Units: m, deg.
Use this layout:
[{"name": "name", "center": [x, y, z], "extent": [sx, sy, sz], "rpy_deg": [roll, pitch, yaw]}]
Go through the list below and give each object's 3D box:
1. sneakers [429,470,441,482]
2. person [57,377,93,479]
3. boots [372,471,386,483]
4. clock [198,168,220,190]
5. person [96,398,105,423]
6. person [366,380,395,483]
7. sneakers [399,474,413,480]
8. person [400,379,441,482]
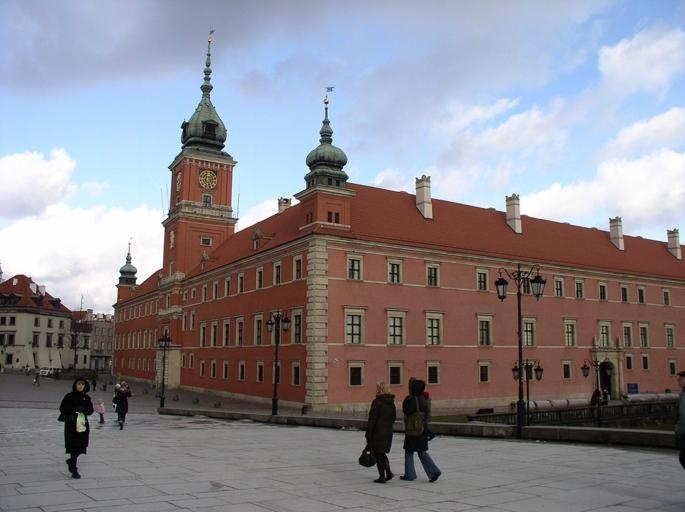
[{"name": "sneakers", "center": [2.722, 6.573, 23.071], "extent": [0.174, 0.210, 0.487], "rpy_deg": [10, -23, -22]}, {"name": "person", "center": [-8.023, 5.162, 23.358], "extent": [0.922, 2.927, 0.633], "rpy_deg": [4, -13, -20]}, {"name": "boots", "center": [1.140, 6.618, 23.235], "extent": [0.175, 0.396, 0.473], "rpy_deg": [10, -9, -42]}, {"name": "clock", "center": [-12.487, -7.129, 71.959], "extent": [1.799, 1.859, 0.181], "rpy_deg": [10, -15, -34]}, {"name": "person", "center": [-11.198, 7.279, 36.155], "extent": [0.314, 1.161, 2.121], "rpy_deg": [4, -14, -17]}, {"name": "person", "center": [1.135, 5.326, 23.437], "extent": [0.846, 2.877, 1.355], "rpy_deg": [-1, -12, 2]}, {"name": "sneakers", "center": [1.908, 6.650, 23.403], "extent": [0.148, 0.182, 0.414], "rpy_deg": [8, -10, -24]}, {"name": "person", "center": [2.284, 5.263, 23.507], "extent": [1.111, 3.035, 1.380], "rpy_deg": [-1, -12, 5]}]
